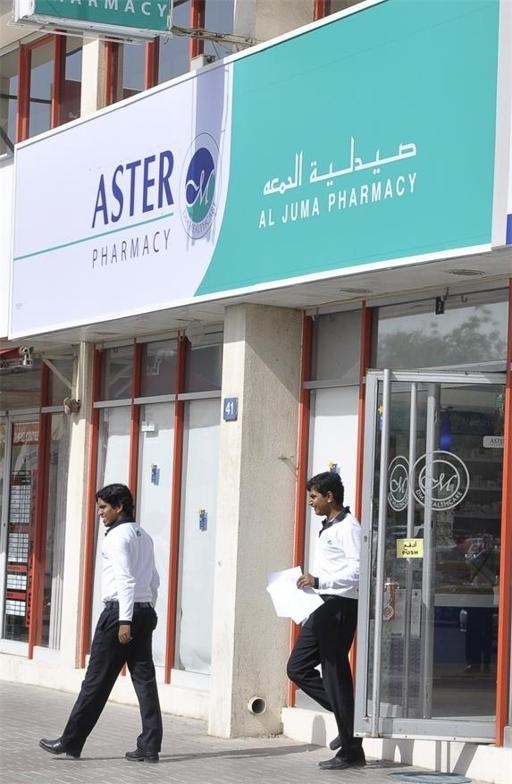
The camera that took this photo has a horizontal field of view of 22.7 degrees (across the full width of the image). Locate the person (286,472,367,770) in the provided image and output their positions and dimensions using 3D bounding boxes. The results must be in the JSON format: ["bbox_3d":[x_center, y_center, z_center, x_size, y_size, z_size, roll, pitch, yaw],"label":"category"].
[{"bbox_3d":[0.437,1.376,7.725,0.459,1.759,0.398,1,-6,3],"label":"person"}]

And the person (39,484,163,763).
[{"bbox_3d":[-0.874,1.400,7.772,0.623,1.684,0.559,1,-6,4],"label":"person"}]

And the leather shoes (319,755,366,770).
[{"bbox_3d":[0.503,2.209,7.585,0.272,0.142,0.106,5,-13,-6],"label":"leather shoes"}]

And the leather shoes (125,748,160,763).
[{"bbox_3d":[-0.693,2.208,7.771,0.199,0.115,0.082,4,-2,39],"label":"leather shoes"}]

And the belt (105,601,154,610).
[{"bbox_3d":[-0.771,1.294,7.688,0.285,0.058,0.154,4,-8,-10],"label":"belt"}]

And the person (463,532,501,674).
[{"bbox_3d":[1.314,1.238,7.529,0.081,0.807,0.265,7,-8,-40],"label":"person"}]

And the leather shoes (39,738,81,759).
[{"bbox_3d":[-1.193,2.183,7.794,0.204,0.140,0.086,21,-4,4],"label":"leather shoes"}]
